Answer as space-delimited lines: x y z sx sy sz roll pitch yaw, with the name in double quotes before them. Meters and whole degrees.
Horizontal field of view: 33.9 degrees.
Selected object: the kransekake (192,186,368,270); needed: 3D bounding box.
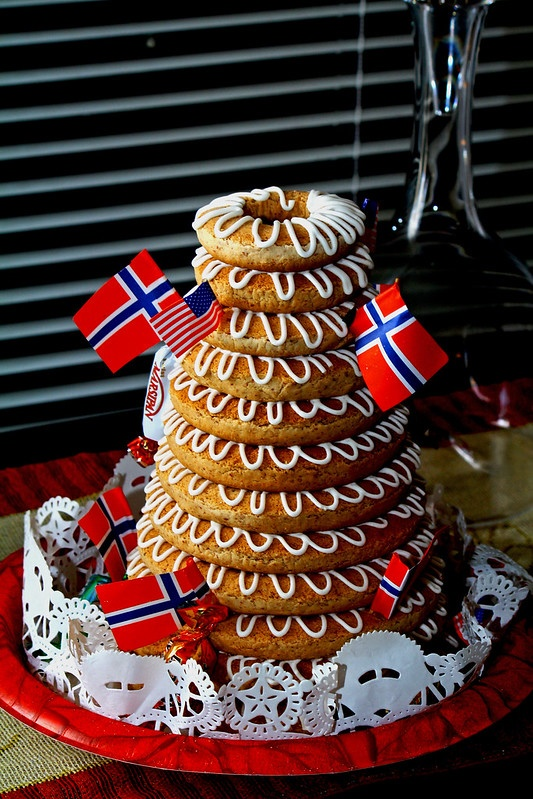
"kransekake" 0.014 -0.196 0.991 0.180 0.053 0.167 5 33 11
